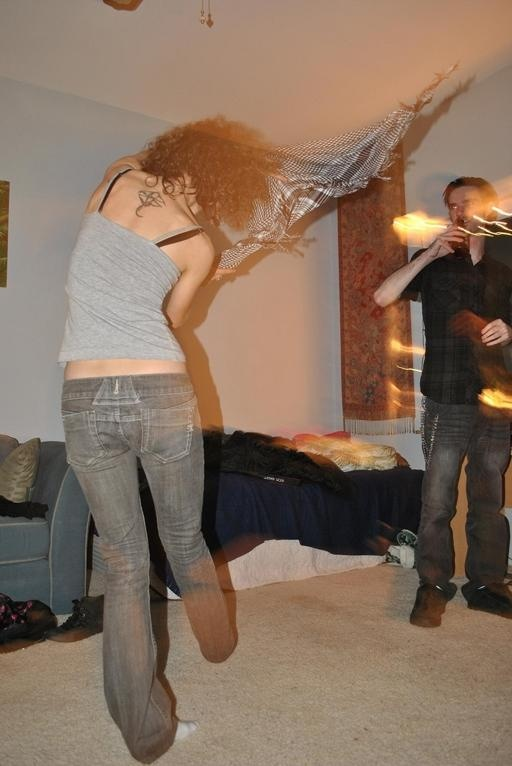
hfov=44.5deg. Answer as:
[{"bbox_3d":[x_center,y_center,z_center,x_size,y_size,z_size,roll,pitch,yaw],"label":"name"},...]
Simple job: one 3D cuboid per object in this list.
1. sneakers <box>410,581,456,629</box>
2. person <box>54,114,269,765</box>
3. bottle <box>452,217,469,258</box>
[{"bbox_3d":[0.654,0.796,2.307,0.101,0.145,0.304,-2,0,32],"label":"sneakers"},{"bbox_3d":[-0.218,0.068,1.559,0.264,1.494,0.510,-2,0,31],"label":"person"},{"bbox_3d":[0.764,-0.554,2.378,0.043,0.126,0.098,1,5,6],"label":"bottle"}]
